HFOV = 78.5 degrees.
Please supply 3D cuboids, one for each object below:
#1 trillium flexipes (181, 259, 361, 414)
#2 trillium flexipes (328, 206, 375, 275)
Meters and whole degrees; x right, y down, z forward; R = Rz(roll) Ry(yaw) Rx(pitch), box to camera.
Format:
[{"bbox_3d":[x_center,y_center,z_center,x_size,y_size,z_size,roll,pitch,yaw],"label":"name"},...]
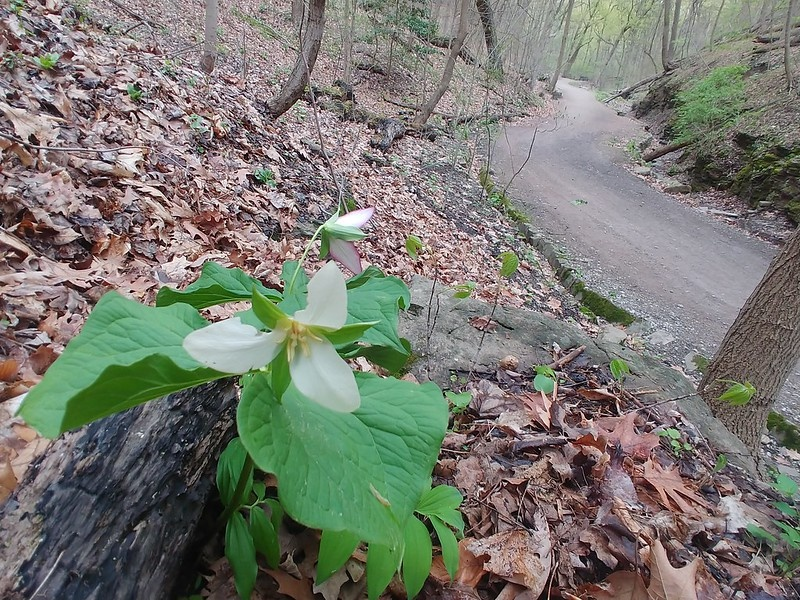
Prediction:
[{"bbox_3d":[-0.348,0.097,1.583,0.441,0.162,0.418,12,6,-41],"label":"trillium flexipes"},{"bbox_3d":[-0.258,-0.246,2.054,0.269,0.067,0.236,-18,31,30],"label":"trillium flexipes"}]
